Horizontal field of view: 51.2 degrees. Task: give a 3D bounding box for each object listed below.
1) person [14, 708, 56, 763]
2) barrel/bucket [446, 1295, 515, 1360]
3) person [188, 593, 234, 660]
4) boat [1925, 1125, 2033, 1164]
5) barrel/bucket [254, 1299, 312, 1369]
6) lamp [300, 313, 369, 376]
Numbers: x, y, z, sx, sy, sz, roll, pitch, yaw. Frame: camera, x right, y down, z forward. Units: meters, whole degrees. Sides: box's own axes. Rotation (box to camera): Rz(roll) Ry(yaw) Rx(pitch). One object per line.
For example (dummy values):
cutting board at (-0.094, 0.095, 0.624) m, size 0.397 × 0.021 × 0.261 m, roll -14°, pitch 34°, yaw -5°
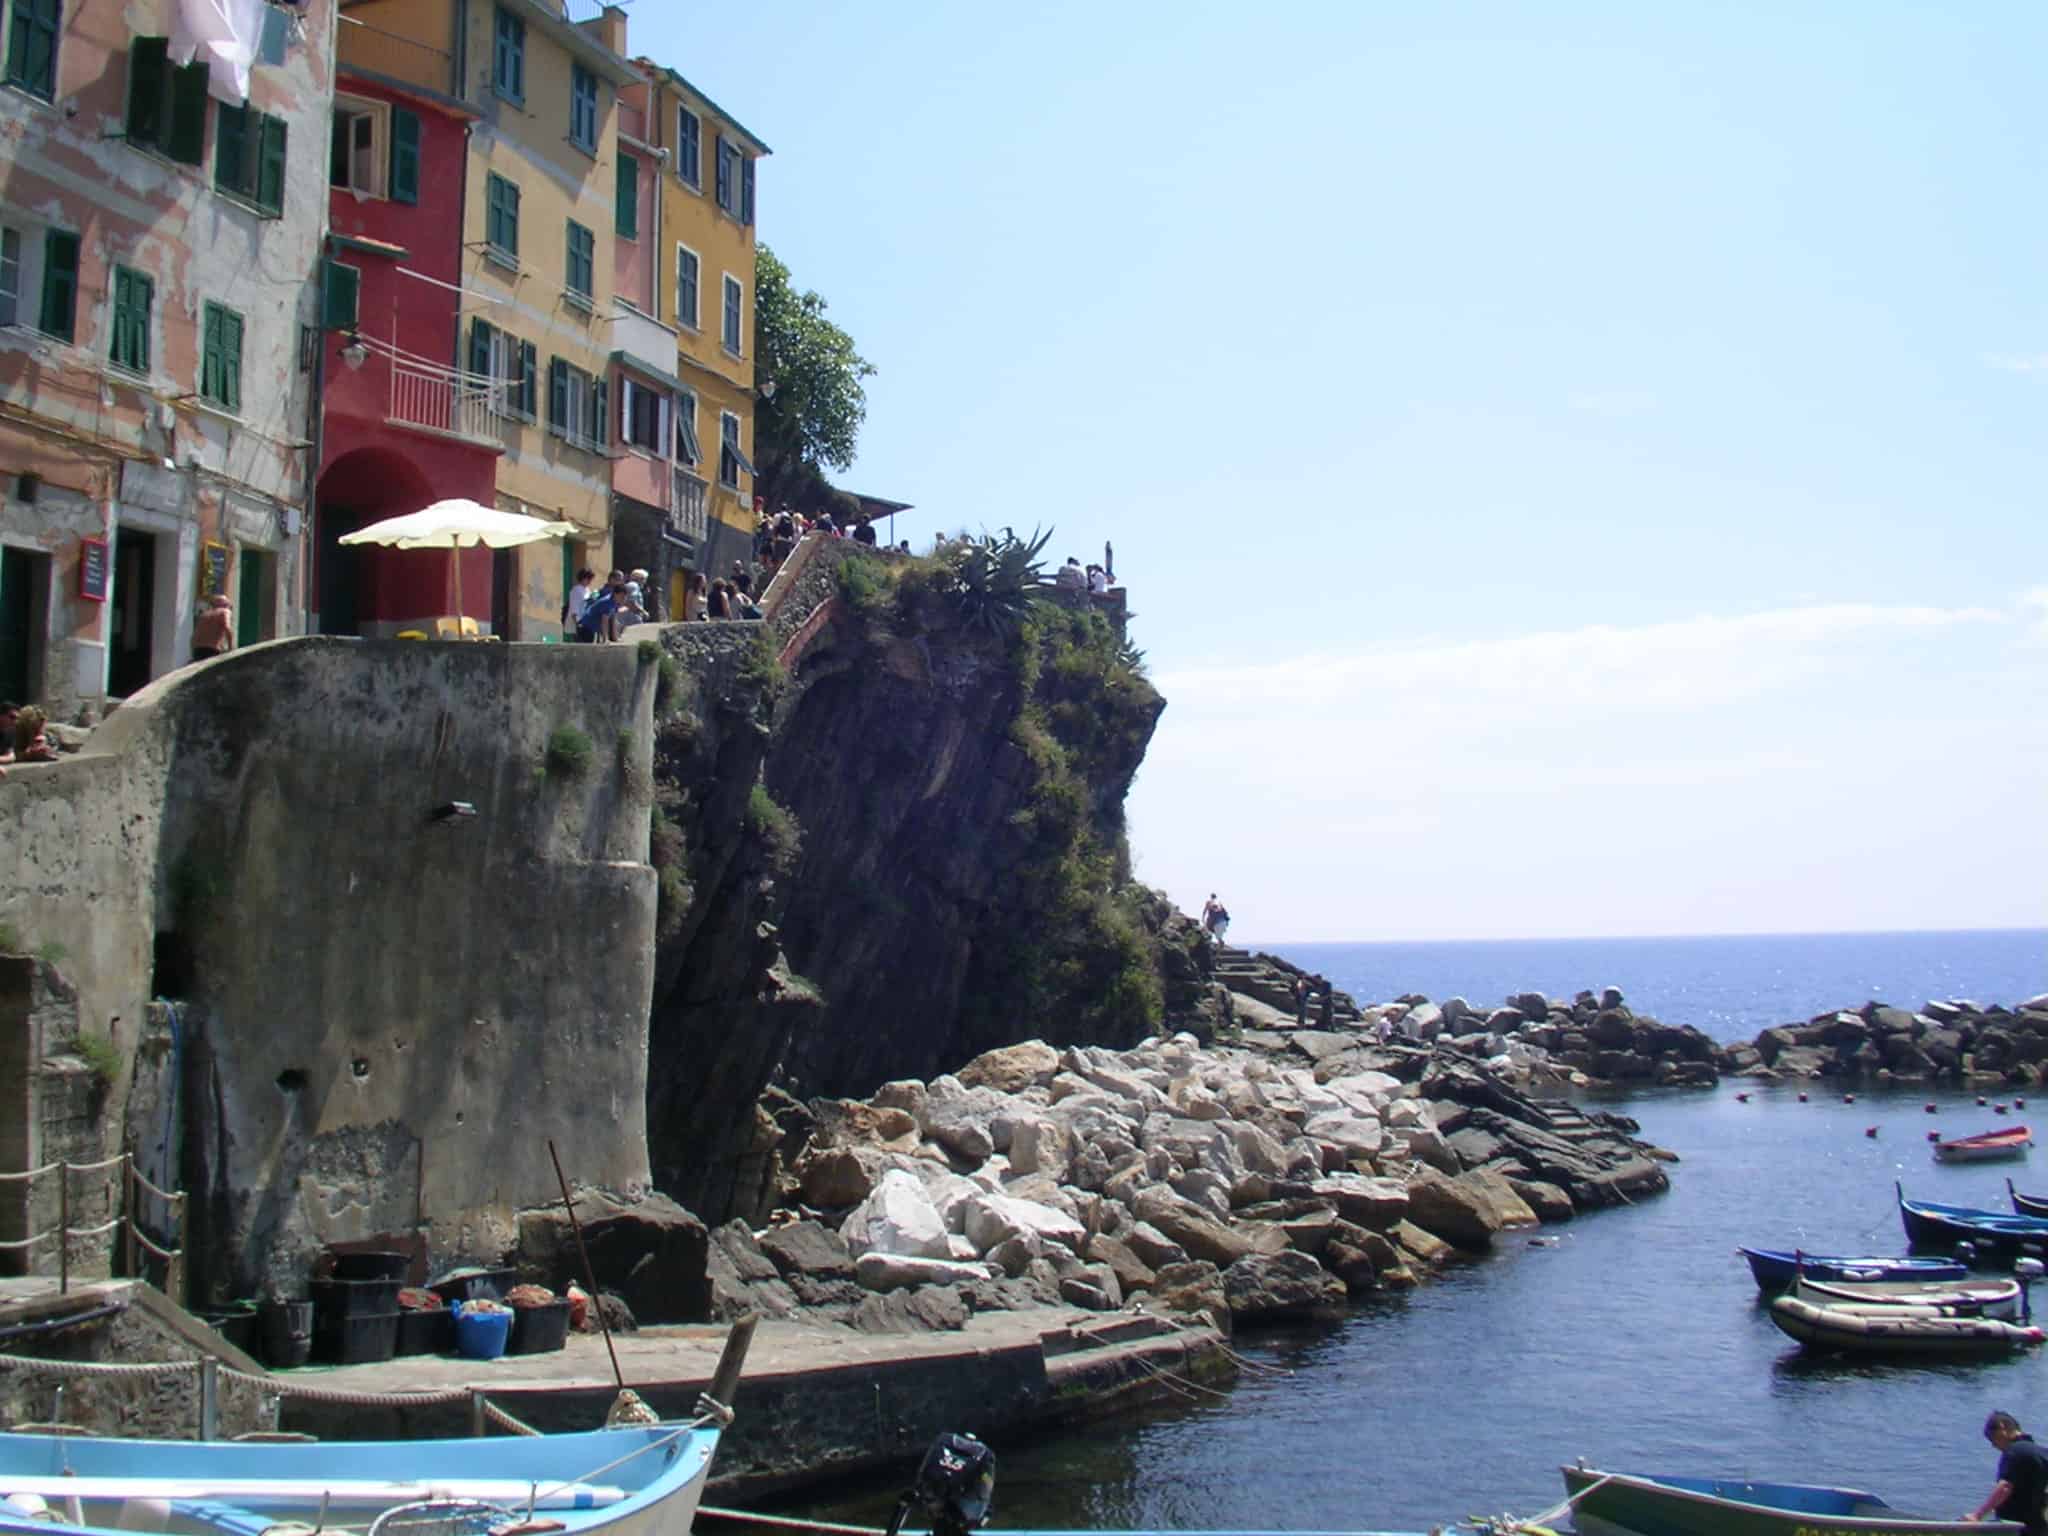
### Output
person at (-11.925, -0.381, 25.670) m, size 0.407 × 0.766 × 0.884 m, roll 4°, pitch -12°, yaw -27°
barrel/bucket at (-6.637, 6.794, 26.331) m, size 0.963 × 0.913 × 0.531 m, roll -1°, pitch -5°, yaw -5°
person at (-11.328, -1.914, 29.709) m, size 0.412 × 1.208 × 1.645 m, roll 4°, pitch -12°, yaw -24°
boat at (27.841, 10.942, 62.399) m, size 3.191 × 0.943 × 0.933 m, roll -2°, pitch -7°, yaw -28°
barrel/bucket at (-8.784, 6.621, 25.281) m, size 0.699 × 0.723 × 0.677 m, roll -1°, pitch 4°, yaw 0°
lamp at (-10.952, -6.600, 33.802) m, size 1.011 × 0.978 × 0.758 m, roll 5°, pitch 8°, yaw 41°
